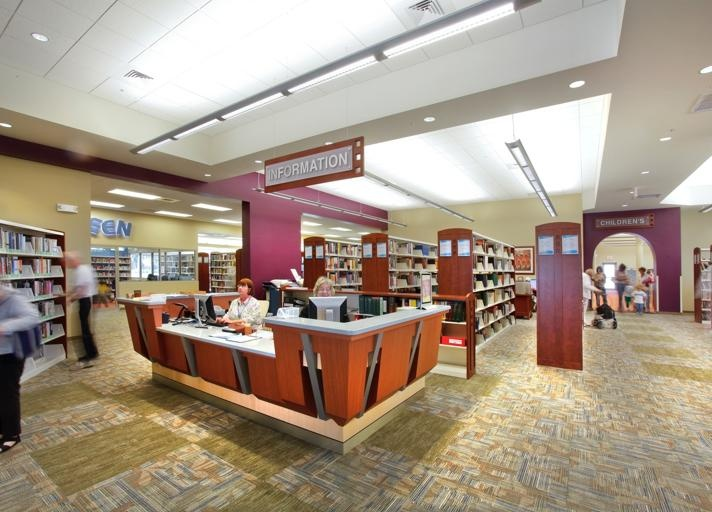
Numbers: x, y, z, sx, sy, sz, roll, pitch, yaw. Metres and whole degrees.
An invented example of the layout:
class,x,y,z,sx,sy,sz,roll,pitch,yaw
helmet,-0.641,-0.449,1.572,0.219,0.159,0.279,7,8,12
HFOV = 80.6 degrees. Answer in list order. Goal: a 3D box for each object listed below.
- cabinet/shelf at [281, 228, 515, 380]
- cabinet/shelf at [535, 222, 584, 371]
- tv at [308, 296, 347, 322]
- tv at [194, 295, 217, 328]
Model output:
class,x,y,z,sx,sy,sz,roll,pitch,yaw
cabinet/shelf,1.747,0.611,9.793,3.239,1.952,4.701,1,2,32
cabinet/shelf,3.719,0.704,7.699,0.805,2.595,0.936,3,15,8
tv,-0.371,0.679,5.395,0.362,0.316,0.121,0,3,-5
tv,-2.342,0.859,6.495,0.473,0.408,0.264,2,8,35
